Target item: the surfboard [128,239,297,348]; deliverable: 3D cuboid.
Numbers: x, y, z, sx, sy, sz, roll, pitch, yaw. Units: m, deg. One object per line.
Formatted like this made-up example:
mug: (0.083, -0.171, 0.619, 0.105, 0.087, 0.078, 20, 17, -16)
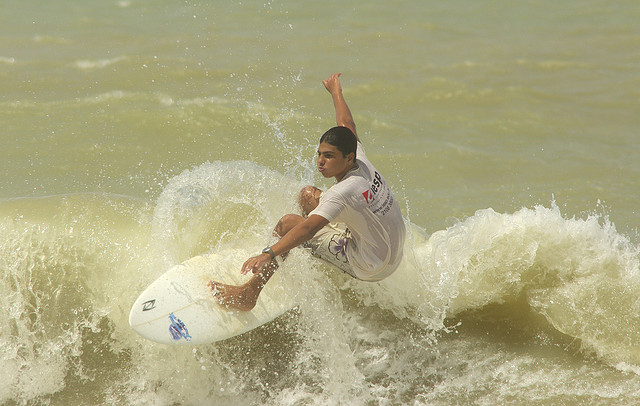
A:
surfboard: (-1.360, 1.174, 11.892, 1.176, 0.368, 3.238, 50, 30, 14)
